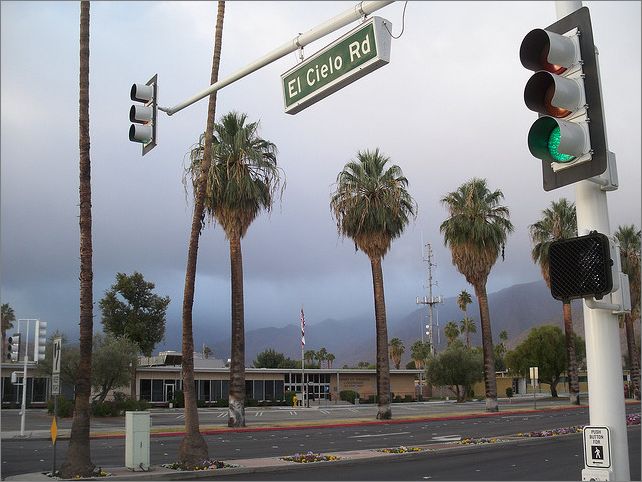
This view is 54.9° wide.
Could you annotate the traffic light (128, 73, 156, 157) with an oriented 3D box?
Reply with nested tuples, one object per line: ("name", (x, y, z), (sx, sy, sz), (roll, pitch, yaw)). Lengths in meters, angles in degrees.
("traffic light", (-3.410, -2.395, 11.803), (0.503, 1.805, 0.814), (0, -12, -17))

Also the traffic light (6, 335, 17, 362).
("traffic light", (-15.004, 5.094, 29.913), (0.422, 1.507, 3.076), (2, -15, -25))
